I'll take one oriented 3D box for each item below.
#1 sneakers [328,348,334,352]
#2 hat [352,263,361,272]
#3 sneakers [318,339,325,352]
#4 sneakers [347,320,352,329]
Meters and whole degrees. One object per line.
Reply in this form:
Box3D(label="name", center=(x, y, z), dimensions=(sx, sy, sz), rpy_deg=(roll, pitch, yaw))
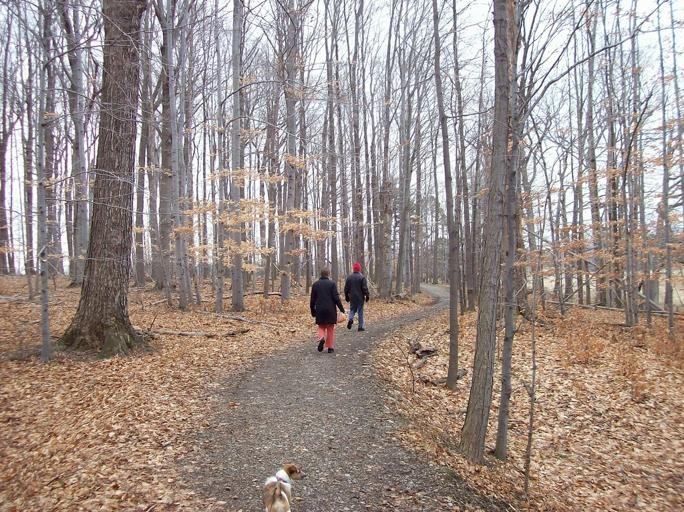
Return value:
Box3D(label="sneakers", center=(-0.350, 2.799, 18.102), dimensions=(0.120, 0.118, 0.115), rpy_deg=(4, 5, 11))
Box3D(label="hat", center=(0.494, 0.378, 20.598), dimensions=(0.241, 0.297, 0.302), rpy_deg=(-5, -6, 38))
Box3D(label="sneakers", center=(-0.649, 2.647, 18.092), dimensions=(0.171, 0.375, 0.160), rpy_deg=(18, 2, 6))
Box3D(label="sneakers", center=(0.270, 2.354, 20.654), dimensions=(0.103, 0.157, 0.332), rpy_deg=(-4, -34, -4))
